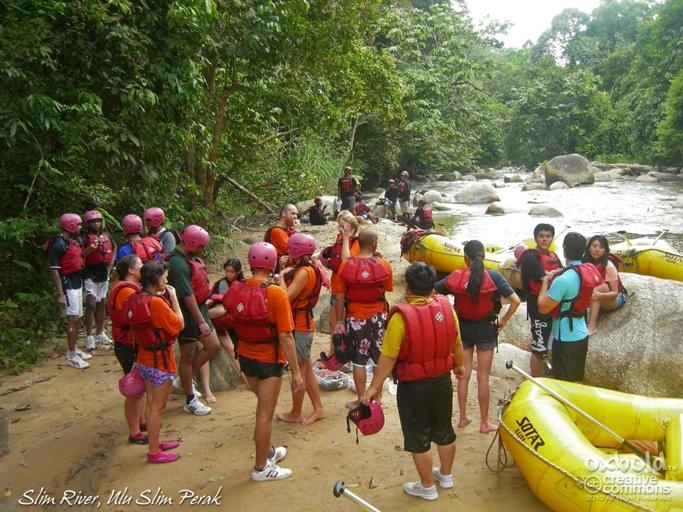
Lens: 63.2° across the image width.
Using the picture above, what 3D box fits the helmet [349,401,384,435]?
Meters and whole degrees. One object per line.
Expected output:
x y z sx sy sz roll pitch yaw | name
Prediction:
0.234 1.636 5.675 0.383 0.387 0.287 -2 9 -9 | helmet

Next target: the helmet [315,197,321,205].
-0.722 -1.682 16.890 0.157 0.165 0.214 1 1 -2 | helmet

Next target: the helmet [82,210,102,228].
-3.784 -0.571 8.449 0.255 0.210 0.189 23 20 40 | helmet

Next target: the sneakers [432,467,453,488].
1.068 2.348 5.893 0.109 0.116 0.260 0 8 -17 | sneakers

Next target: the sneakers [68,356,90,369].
-3.960 1.595 8.407 0.326 0.138 0.144 14 12 10 | sneakers

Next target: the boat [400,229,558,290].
2.741 -0.032 12.467 2.387 0.827 1.693 8 8 21 | boat

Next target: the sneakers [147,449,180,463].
-2.006 2.247 6.264 0.286 0.121 0.154 2 -2 -12 | sneakers

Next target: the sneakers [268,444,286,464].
-0.720 2.231 6.275 0.092 0.124 0.262 3 8 16 | sneakers

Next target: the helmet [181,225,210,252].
-1.762 -0.242 6.849 0.361 0.305 0.253 10 27 -33 | helmet

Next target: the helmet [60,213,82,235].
-4.034 -0.517 8.327 0.302 0.286 0.264 -8 30 -44 | helmet

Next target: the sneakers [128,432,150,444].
-2.382 2.138 6.539 0.227 0.101 0.138 2 20 -16 | sneakers

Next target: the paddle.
2.646 1.769 6.007 1.777 0.413 0.213 33 36 1 | paddle

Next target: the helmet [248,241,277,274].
-0.839 0.011 5.923 0.268 0.282 0.301 2 12 -2 | helmet

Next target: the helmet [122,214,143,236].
-2.929 -0.451 7.792 0.221 0.275 0.293 -6 23 -21 | helmet

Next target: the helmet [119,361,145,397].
-2.323 1.395 6.195 0.306 0.328 0.154 6 -4 -21 | helmet

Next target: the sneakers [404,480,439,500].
0.813 2.406 5.727 0.331 0.162 0.147 8 7 23 | sneakers

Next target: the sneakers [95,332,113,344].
-3.916 1.357 9.228 0.305 0.156 0.135 10 3 -2 | sneakers

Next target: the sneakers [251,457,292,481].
-0.760 2.331 6.078 0.477 0.232 0.178 0 3 -12 | sneakers

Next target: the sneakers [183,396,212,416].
-1.855 1.934 7.233 0.378 0.188 0.161 6 7 13 | sneakers

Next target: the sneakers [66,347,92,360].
-4.028 1.492 8.469 0.402 0.179 0.145 9 8 -36 | sneakers

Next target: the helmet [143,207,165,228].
-2.736 -0.574 8.111 0.364 0.311 0.260 5 6 -45 | helmet

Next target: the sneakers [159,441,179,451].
-1.997 2.186 6.455 0.221 0.084 0.080 -2 36 -20 | sneakers

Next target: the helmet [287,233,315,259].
-0.438 -0.125 6.643 0.317 0.299 0.250 22 22 27 | helmet
